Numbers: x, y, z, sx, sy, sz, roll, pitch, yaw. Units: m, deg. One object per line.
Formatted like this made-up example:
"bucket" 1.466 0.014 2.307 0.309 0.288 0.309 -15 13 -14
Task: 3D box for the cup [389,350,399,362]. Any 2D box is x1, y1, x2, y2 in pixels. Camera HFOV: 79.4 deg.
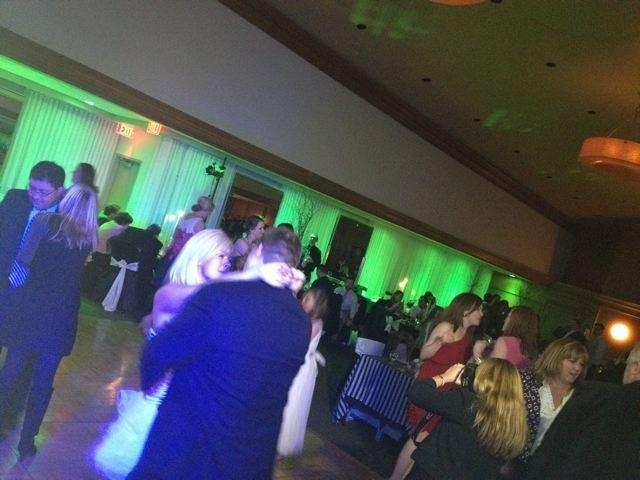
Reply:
"cup" 0.892 1.394 4.663 0.101 0.126 0.108 2 3 0

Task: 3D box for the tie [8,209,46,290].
"tie" -1.664 0.052 2.197 0.099 0.376 0.262 15 0 -6

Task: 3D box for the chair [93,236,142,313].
"chair" -2.653 0.595 5.497 0.665 0.908 0.614 16 -26 -25
